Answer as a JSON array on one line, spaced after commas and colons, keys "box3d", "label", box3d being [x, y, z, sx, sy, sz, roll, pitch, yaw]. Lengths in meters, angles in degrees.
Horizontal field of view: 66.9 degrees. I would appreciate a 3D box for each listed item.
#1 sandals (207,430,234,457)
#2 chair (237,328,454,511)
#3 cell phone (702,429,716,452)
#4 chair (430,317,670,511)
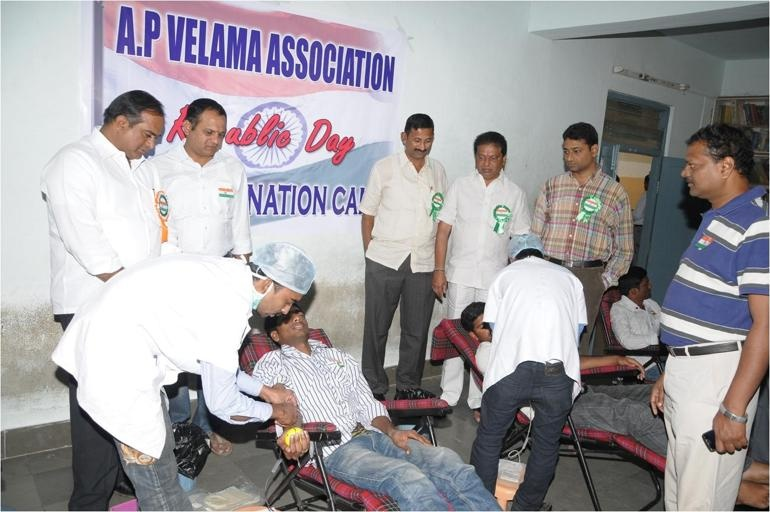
[{"box3d": [-1.262, 1.408, 4.475, 0.152, 0.105, 0.269, -6, 9, -39], "label": "sandals"}, {"box3d": [-0.212, 0.984, 4.003, 0.942, 1.084, 1.244, -2, 3, -39], "label": "chair"}, {"box3d": [1.828, 1.046, 3.296, 0.073, 0.135, 0.063, 6, 11, 30], "label": "cell phone"}, {"box3d": [1.300, 1.112, 4.589, 1.076, 1.128, 1.744, 0, 0, -36], "label": "chair"}]
